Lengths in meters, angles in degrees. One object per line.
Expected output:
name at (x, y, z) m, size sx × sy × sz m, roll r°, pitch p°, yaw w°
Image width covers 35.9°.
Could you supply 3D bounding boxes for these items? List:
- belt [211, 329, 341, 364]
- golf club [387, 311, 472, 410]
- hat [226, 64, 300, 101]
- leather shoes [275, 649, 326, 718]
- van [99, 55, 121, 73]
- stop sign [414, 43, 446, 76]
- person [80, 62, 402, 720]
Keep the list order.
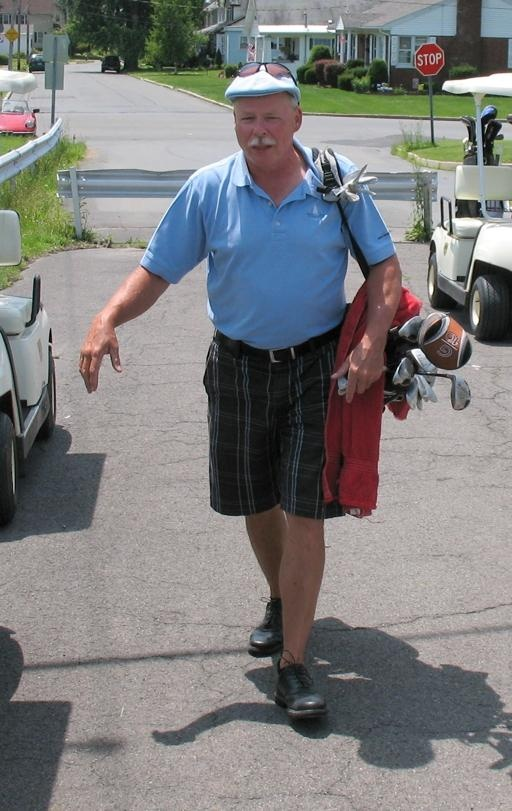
belt at (0.050, -0.161, 2.352) m, size 0.179 × 0.052 × 0.168 m, roll 0°, pitch 3°, yaw -3°
golf club at (0.491, -0.112, 2.361) m, size 0.251 × 0.304 × 0.245 m, roll 2°, pitch 17°, yaw 6°
hat at (0.020, -0.906, 2.192) m, size 0.197 × 0.117 × 0.202 m, roll 0°, pitch 11°, yaw 0°
leather shoes at (0.119, 0.805, 2.202) m, size 0.122 × 0.127 × 0.216 m, roll -1°, pitch 11°, yaw -5°
van at (-15.243, -36.143, 83.264) m, size 1.723 × 1.359 × 2.786 m, roll -1°, pitch 16°, yaw -5°
stop sign at (4.859, -9.719, 22.124) m, size 0.689 × 1.108 × 1.455 m, roll 2°, pitch 11°, yaw 9°
person at (-0.013, 0.013, 2.479) m, size 0.684 × 1.892 × 0.920 m, roll 0°, pitch 5°, yaw 1°
